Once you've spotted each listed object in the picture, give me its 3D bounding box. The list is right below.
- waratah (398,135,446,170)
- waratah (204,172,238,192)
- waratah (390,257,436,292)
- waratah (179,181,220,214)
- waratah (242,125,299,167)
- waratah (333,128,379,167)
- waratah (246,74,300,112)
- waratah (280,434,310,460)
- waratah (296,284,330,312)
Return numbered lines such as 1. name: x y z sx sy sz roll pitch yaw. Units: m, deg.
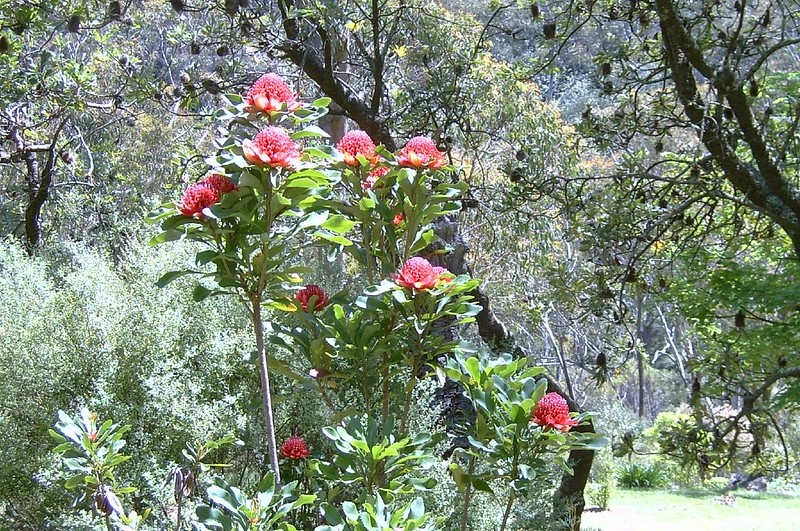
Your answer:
1. waratah: 0.095 -0.551 3.819 0.276 0.154 0.284 0 4 29
2. waratah: -0.833 -0.381 3.592 0.101 0.074 0.100 2 20 -40
3. waratah: 0.068 0.034 3.648 0.159 0.113 0.163 9 8 41
4. waratah: -0.925 -0.308 3.608 0.148 0.161 0.148 -22 29 -6
5. waratah: -0.583 -0.526 3.536 0.203 0.117 0.204 0 26 -12
6. waratah: -0.217 -0.579 3.849 0.168 0.179 0.172 -6 8 -16
7. waratah: -0.602 -0.794 3.691 0.200 0.139 0.203 3 10 7
8. waratah: -0.563 0.999 4.165 0.135 0.126 0.138 7 12 7
9. waratah: -0.443 0.167 3.886 0.133 0.144 0.135 0 11 -2
